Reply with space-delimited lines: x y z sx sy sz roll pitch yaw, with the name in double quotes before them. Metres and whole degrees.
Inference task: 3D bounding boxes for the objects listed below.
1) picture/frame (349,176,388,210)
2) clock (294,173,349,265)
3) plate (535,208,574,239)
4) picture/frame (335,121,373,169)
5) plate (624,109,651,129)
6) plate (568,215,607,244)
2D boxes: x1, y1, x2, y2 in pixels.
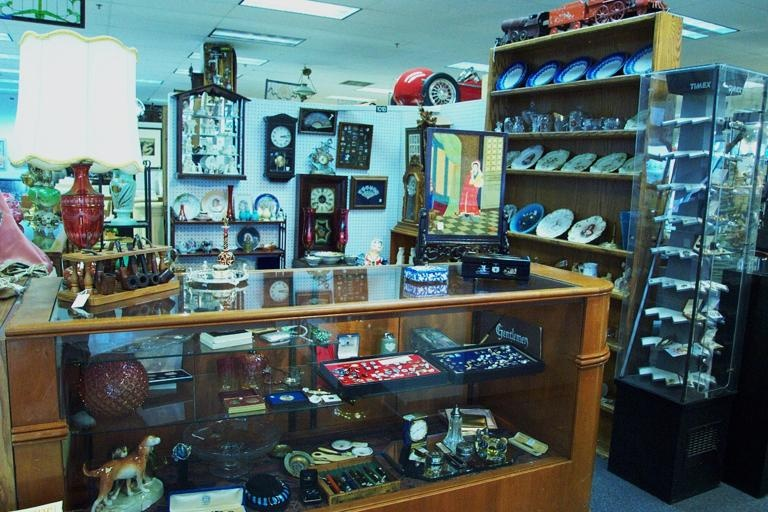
"picture/frame" -0.184 -0.693 6.451 0.389 0.303 0.041 -5 14 -26
"clock" -0.668 -0.405 6.358 0.473 1.051 0.149 1 38 -8
"plate" 1.467 -0.258 5.100 0.280 0.265 0.067 -27 -48 27
"picture/frame" -0.335 -1.198 6.357 0.566 0.600 0.045 -1 12 -26
"plate" 1.819 -0.973 4.296 0.117 0.138 0.653 6 11 18
"plate" 1.618 -0.217 4.821 0.279 0.218 0.285 11 13 39
